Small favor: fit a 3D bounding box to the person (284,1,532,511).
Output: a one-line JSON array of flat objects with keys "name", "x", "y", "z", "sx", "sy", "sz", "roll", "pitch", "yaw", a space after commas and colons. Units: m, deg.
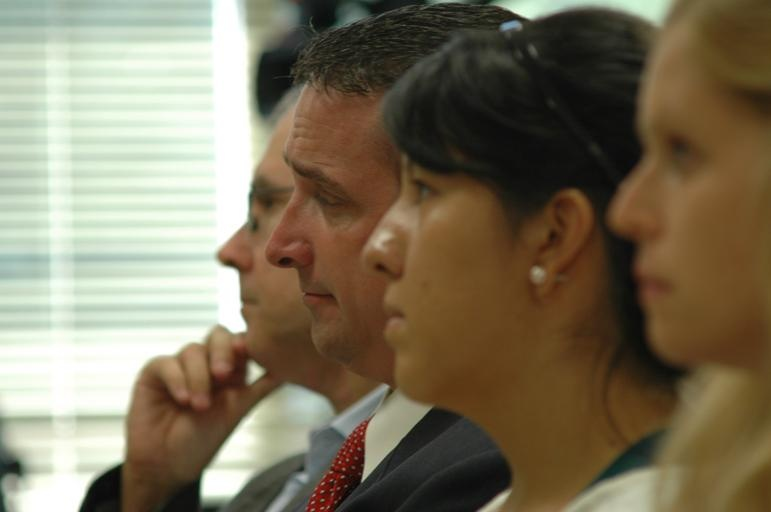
[{"name": "person", "x": 0.019, "y": 0.049, "z": 2.754, "sx": 0.744, "sy": 0.873, "sz": 1.370, "roll": 2, "pitch": 87, "yaw": 8}]
